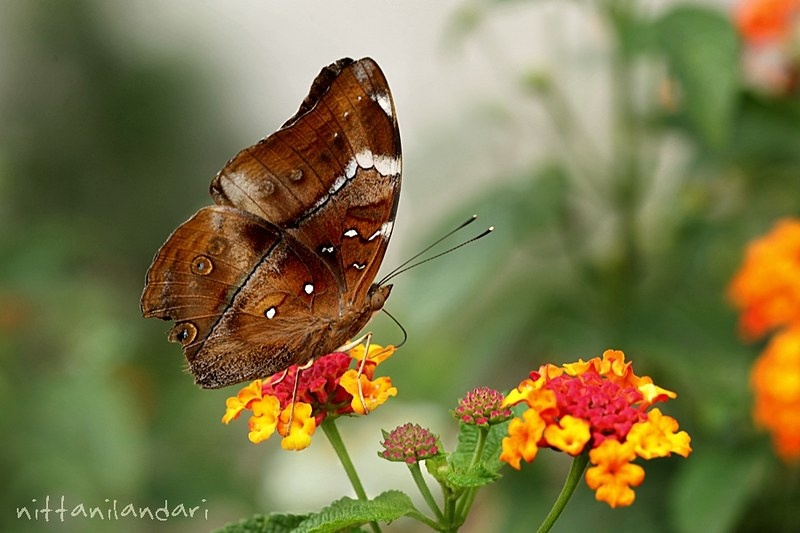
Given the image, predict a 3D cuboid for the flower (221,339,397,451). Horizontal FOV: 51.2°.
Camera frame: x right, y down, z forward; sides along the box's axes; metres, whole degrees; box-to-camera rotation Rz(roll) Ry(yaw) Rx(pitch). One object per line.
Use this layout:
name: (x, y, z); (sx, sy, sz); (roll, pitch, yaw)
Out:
flower: (-0.339, 0.477, 3.124); (0.661, 0.282, 0.332); (-6, 25, -7)

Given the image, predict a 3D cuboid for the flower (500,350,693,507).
flower: (0.686, 0.552, 2.948); (0.640, 0.343, 0.485); (3, 26, 10)
